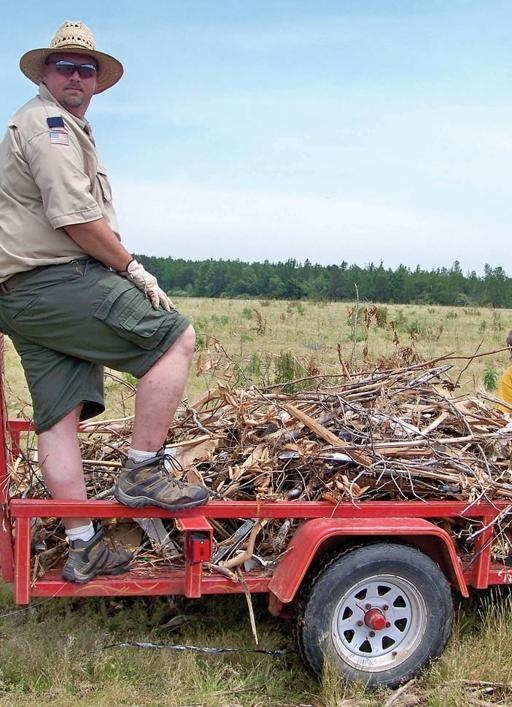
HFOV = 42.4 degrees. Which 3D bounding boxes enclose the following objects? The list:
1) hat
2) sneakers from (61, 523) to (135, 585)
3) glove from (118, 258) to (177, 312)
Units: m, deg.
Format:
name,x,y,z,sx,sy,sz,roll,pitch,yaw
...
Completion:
name,x,y,z,sx,sy,sz,roll,pitch,yaw
hat,-0.903,-1.491,3.261,0.483,0.217,0.491,-3,-3,14
sneakers,-0.688,0.882,2.979,0.124,0.228,0.368,4,-2,38
glove,-0.479,-0.306,2.978,0.275,0.094,0.172,37,-11,-4
